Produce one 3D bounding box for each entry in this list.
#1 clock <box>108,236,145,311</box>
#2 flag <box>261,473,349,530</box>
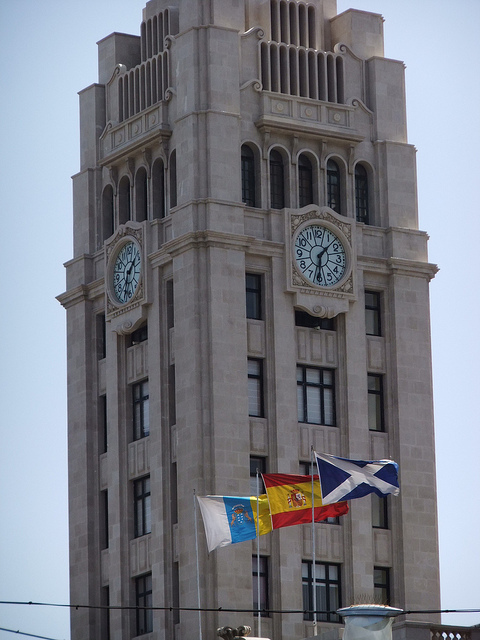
[{"bbox_3d":[-4.648,-1.883,86.863,0.128,2.203,2.040,9,-32,-25],"label":"clock"},{"bbox_3d":[1.661,6.099,75.897,1.777,2.078,2.571,11,-58,-35],"label":"flag"}]
